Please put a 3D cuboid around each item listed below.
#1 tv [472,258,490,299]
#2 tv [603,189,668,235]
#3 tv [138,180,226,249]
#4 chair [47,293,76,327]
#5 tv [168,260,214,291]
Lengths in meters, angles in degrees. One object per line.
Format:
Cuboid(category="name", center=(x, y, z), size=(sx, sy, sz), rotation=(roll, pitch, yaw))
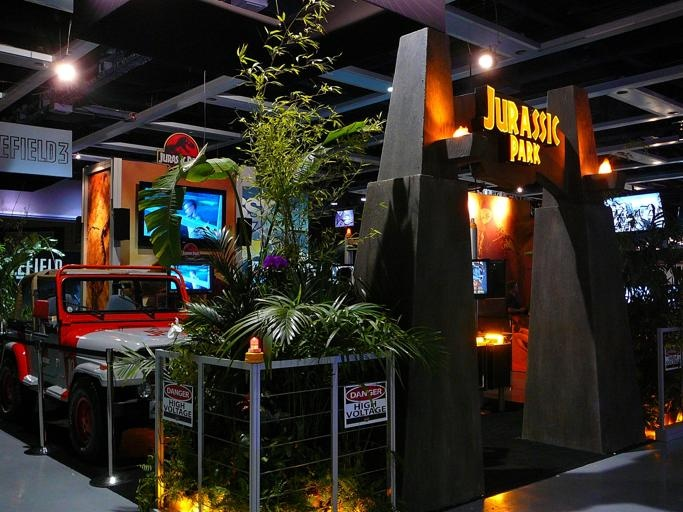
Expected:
Cuboid(category="tv", center=(2.078, 0.323, 8.115), size=(0.304, 0.539, 0.107), rotation=(2, -3, -33))
Cuboid(category="tv", center=(4.764, -0.699, 8.916), size=(1.104, 0.637, 0.117), rotation=(-2, 6, -15))
Cuboid(category="tv", center=(-1.940, -0.506, 6.619), size=(1.240, 0.754, 0.122), rotation=(1, -4, -37))
Cuboid(category="chair", center=(-3.010, 0.591, 5.850), size=(0.180, 0.199, 0.337), rotation=(2, 12, -3))
Cuboid(category="tv", center=(-2.256, 0.284, 8.145), size=(0.591, 0.438, 0.079), rotation=(4, -10, -32))
